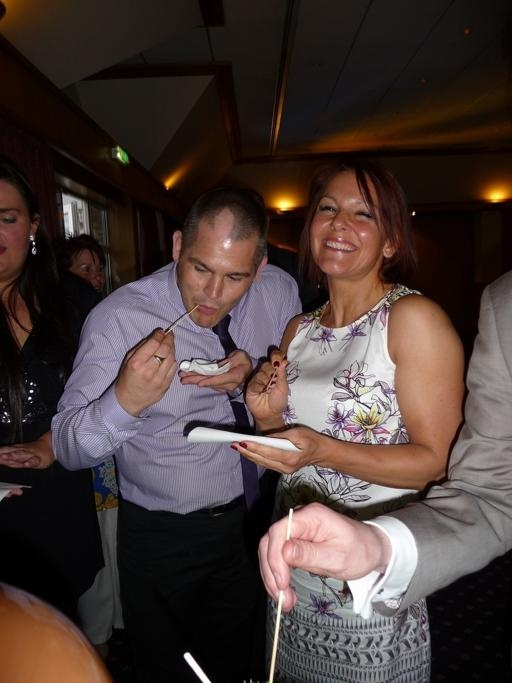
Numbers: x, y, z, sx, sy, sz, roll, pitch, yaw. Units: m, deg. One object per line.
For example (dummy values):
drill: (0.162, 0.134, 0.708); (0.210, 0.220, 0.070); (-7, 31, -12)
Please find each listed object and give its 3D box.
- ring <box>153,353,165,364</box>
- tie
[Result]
ring: (-0.251, 0.045, 1.390); (0.022, 0.009, 0.023); (30, 26, -16)
tie: (-0.032, 0.302, 1.781); (0.100, 0.800, 0.110); (-16, 21, -16)
